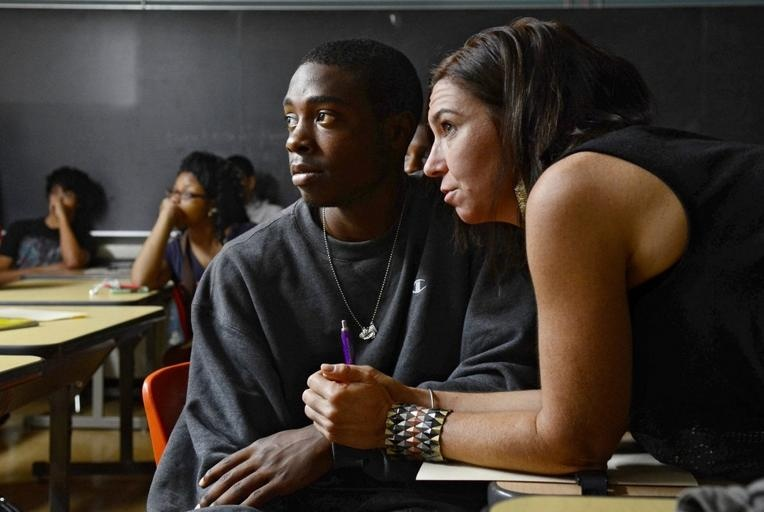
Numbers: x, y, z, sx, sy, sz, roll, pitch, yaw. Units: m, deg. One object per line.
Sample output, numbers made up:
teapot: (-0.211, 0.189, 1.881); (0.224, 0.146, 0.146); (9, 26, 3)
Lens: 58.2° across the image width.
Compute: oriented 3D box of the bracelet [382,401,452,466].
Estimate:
bracelet: (0.062, 0.342, 1.321); (0.126, 0.102, 0.098); (1, -5, 14)

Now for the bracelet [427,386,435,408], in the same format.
bracelet: (0.102, 0.301, 1.447); (0.012, 0.050, 0.050); (-7, -19, 12)
